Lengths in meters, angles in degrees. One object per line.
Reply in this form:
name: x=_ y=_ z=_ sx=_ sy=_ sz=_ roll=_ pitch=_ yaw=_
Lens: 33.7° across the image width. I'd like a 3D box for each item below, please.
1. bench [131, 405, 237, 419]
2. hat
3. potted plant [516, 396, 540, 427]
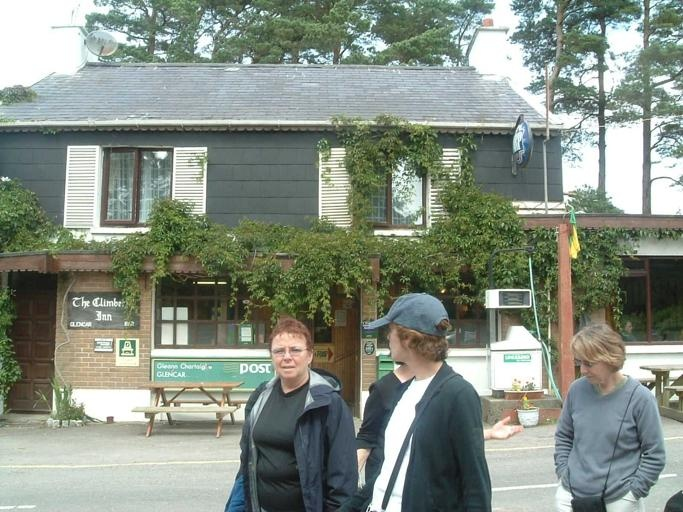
bench: x=-3.883 y=3.785 z=27.425 sx=2.408 sy=0.276 sz=2.306 roll=1 pitch=-7 yaw=-17
hat: x=1.241 y=0.981 z=19.315 sx=1.007 sy=0.537 sz=0.655 roll=5 pitch=-2 yaw=12
potted plant: x=4.490 y=3.763 z=27.138 sx=0.548 sy=0.748 sz=0.405 roll=-1 pitch=-6 yaw=3
